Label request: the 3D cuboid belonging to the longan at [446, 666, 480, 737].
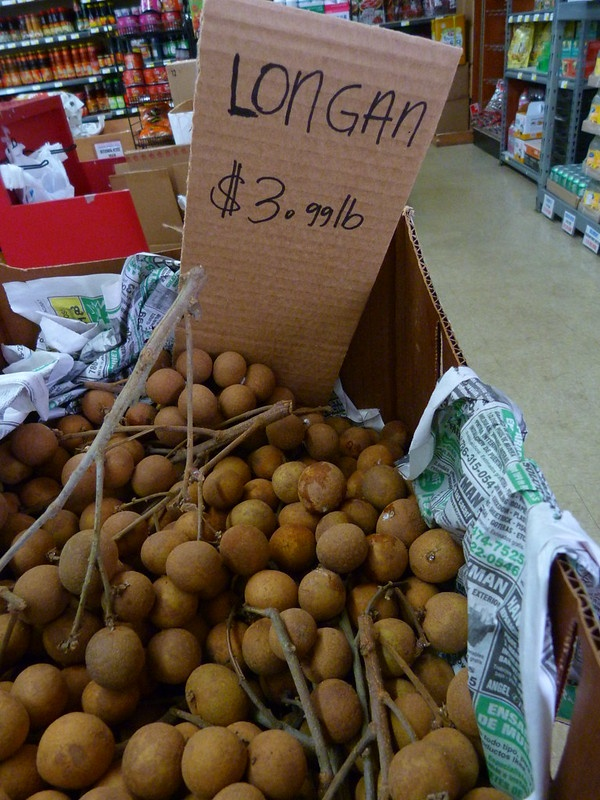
[{"bbox_3d":[0.202,0.380,0.743,0.048,0.068,0.052,7,27,6],"label":"longan"}]
